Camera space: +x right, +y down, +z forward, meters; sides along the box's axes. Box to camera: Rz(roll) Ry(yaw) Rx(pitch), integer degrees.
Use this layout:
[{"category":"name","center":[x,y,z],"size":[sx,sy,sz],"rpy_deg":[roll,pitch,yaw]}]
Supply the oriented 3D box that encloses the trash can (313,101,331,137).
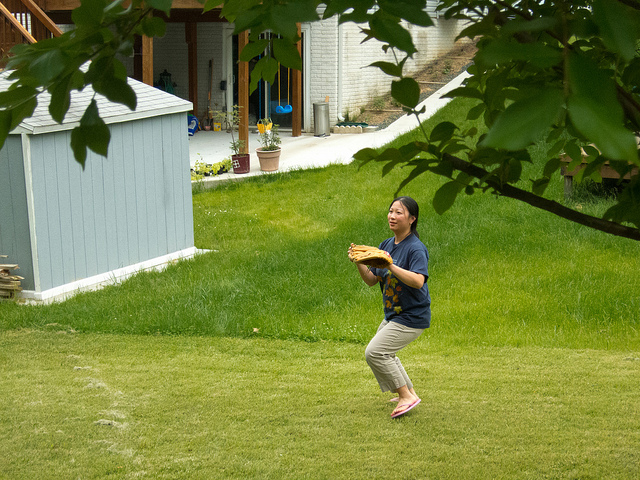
[{"category":"trash can","center":[0.061,-3.015,26.731],"size":[0.385,0.854,0.461],"rpy_deg":[-3,9,-1]}]

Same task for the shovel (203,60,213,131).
[{"category":"shovel","center":[-3.004,-3.886,28.551],"size":[0.264,1.862,0.434],"rpy_deg":[-6,9,-17]}]

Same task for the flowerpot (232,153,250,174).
[{"category":"flowerpot","center":[-1.595,-1.550,21.749],"size":[0.341,0.398,0.370],"rpy_deg":[-4,8,-5]}]

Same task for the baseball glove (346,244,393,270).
[{"category":"baseball glove","center":[0.435,0.151,9.570],"size":[0.290,0.120,0.254],"rpy_deg":[2,-7,35]}]

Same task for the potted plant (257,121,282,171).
[{"category":"potted plant","center":[-1.056,-1.937,22.023],"size":[0.624,0.945,0.577],"rpy_deg":[-10,11,-27]}]

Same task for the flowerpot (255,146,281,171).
[{"category":"flowerpot","center":[-1.026,-1.649,21.888],"size":[0.463,0.327,0.463],"rpy_deg":[2,8,29]}]

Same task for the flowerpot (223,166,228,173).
[{"category":"flowerpot","center":[-1.945,-1.460,22.027],"size":[0.091,0.133,0.094],"rpy_deg":[-4,9,-5]}]

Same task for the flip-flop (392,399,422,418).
[{"category":"flip-flop","center":[0.853,1.616,10.179],"size":[0.291,0.068,0.115],"rpy_deg":[-29,-6,-12]}]

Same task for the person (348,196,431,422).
[{"category":"person","center":[0.697,0.667,10.051],"size":[0.704,2.118,0.952],"rpy_deg":[-3,9,5]}]
